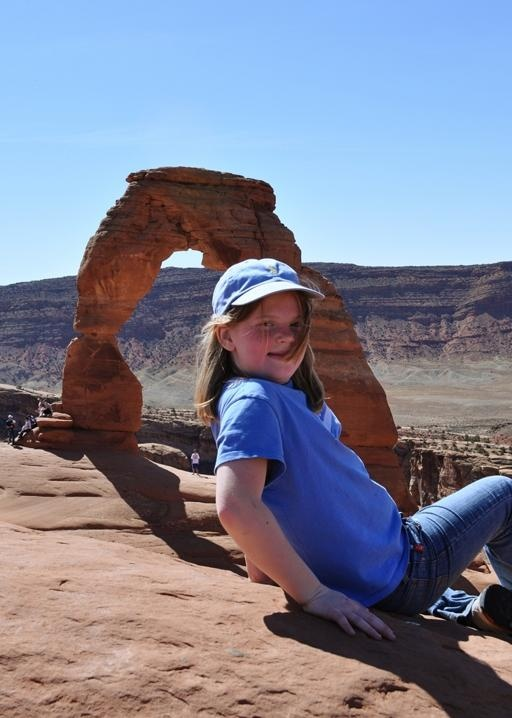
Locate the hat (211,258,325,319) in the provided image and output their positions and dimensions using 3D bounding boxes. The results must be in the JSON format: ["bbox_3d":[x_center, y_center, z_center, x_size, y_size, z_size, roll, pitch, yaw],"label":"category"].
[{"bbox_3d":[0.008,-0.240,2.091,0.223,0.114,0.275,-1,-6,-35],"label":"hat"}]
